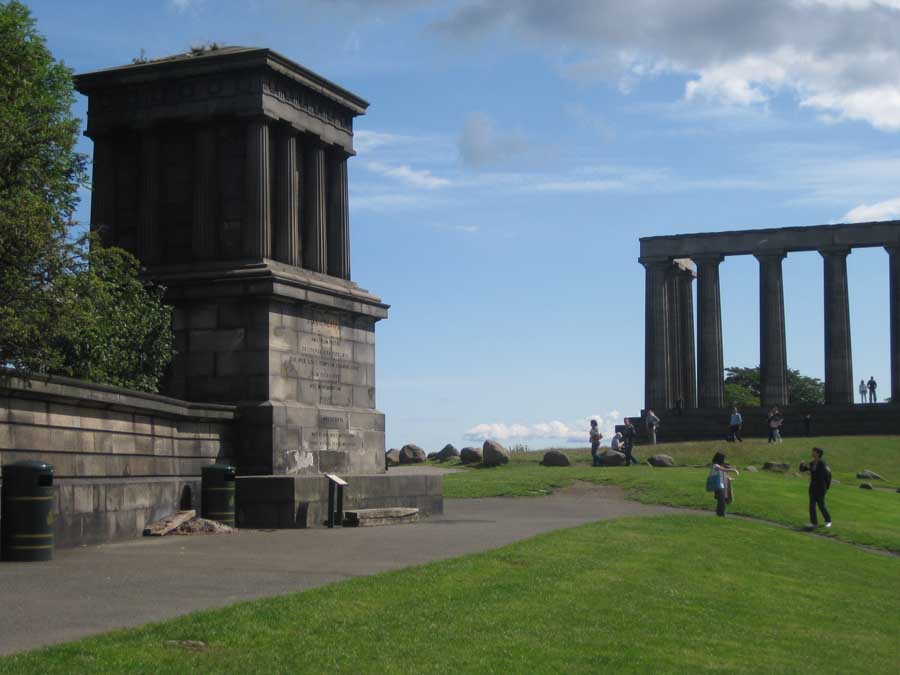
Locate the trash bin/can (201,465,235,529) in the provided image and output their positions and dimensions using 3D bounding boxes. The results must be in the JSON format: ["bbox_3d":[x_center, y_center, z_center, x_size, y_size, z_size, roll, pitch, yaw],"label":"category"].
[{"bbox_3d":[-6.281,4.369,33.700,1.066,1.726,1.037,-6,-7,41],"label":"trash bin/can"}]
